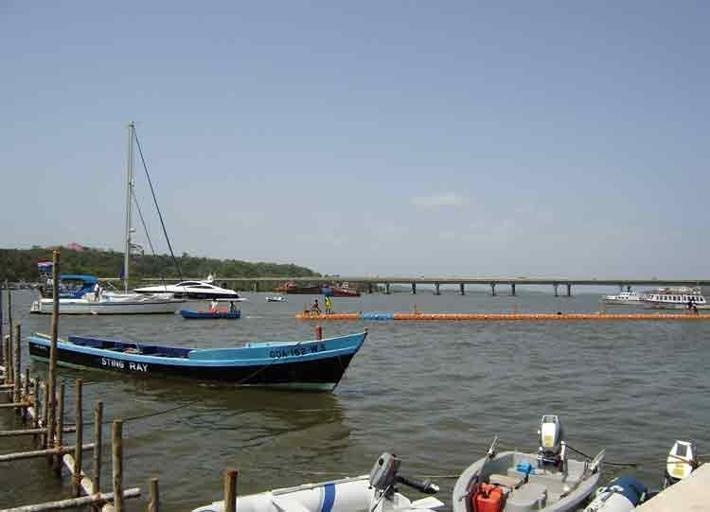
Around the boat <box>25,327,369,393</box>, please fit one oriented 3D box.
[{"bbox_3d":[-9.298,5.158,39.038,25.837,2.896,4.661,-1,-3,18],"label":"boat"}]

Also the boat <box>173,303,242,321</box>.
[{"bbox_3d":[-12.612,5.037,68.741,6.904,1.446,1.995,2,-5,-8],"label":"boat"}]
